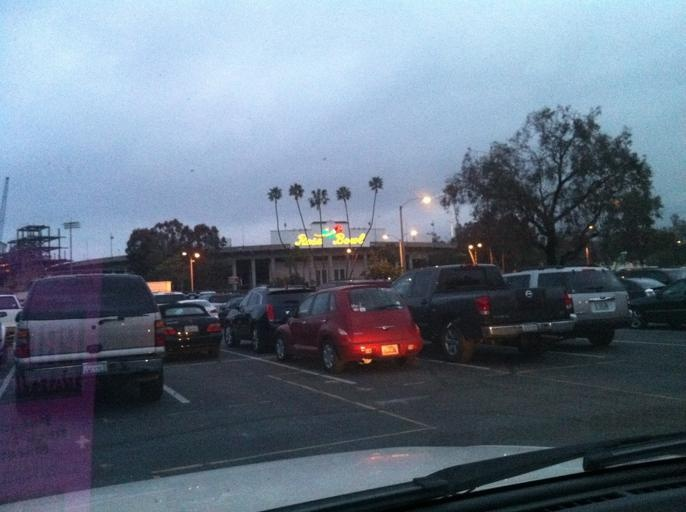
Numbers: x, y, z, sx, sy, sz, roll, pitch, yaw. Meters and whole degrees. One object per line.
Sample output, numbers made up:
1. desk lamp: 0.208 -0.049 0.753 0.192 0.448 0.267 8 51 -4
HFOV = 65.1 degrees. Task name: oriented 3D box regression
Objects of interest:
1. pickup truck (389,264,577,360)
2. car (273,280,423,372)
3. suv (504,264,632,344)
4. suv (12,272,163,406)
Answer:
1. pickup truck: 2.812 1.266 13.047 1.986 1.627 4.285 0 -1 -24
2. car: 0.003 1.546 11.934 1.426 1.863 3.132 0 -3 -41
3. suv: 5.675 1.128 13.874 1.492 1.284 2.936 0 1 -28
4. suv: -4.795 1.117 10.106 2.255 2.022 4.086 0 7 -28
